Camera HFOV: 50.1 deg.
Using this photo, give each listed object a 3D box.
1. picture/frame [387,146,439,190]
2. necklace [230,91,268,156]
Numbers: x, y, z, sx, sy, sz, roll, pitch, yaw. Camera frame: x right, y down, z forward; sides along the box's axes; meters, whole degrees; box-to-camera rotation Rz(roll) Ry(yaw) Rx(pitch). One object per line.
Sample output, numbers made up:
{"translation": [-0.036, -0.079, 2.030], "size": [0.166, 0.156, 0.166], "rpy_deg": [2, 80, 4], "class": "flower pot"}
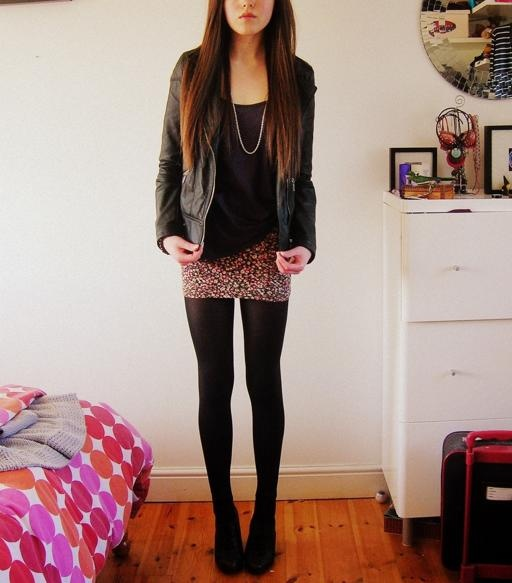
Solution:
{"translation": [0.528, -0.414, 1.837], "size": [0.191, 0.185, 0.060], "rpy_deg": [0, -7, -7], "class": "picture/frame"}
{"translation": [-0.009, -0.437, 1.462], "size": [0.064, 0.120, 0.011], "rpy_deg": [-8, 29, -2], "class": "necklace"}
